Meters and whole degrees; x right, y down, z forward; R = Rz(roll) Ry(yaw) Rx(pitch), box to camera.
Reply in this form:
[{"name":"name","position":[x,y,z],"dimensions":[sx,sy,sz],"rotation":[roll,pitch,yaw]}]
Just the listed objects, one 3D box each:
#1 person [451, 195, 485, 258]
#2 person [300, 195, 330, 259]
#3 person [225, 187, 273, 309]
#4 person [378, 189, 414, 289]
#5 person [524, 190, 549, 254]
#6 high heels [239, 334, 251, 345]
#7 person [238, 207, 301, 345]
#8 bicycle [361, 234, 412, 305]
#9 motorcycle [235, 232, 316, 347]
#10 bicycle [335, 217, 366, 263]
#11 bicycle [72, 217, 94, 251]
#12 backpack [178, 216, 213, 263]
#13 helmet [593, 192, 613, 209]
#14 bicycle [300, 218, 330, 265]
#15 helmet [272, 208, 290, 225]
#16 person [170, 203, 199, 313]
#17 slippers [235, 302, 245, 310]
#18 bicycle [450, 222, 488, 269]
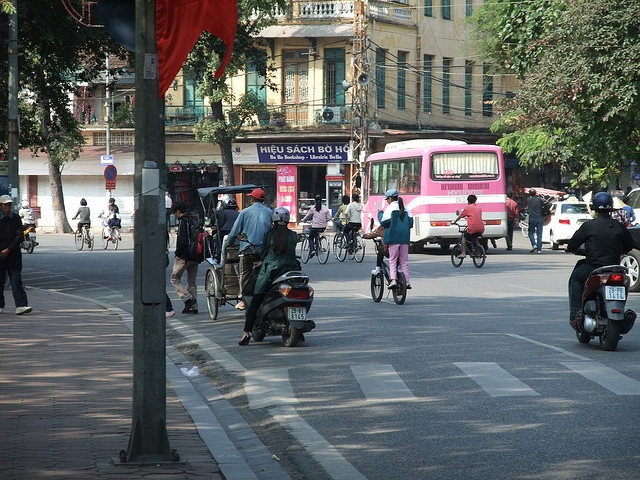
[{"name":"person","position":[3.957,-0.394,28.125],"dimensions":[0.491,1.318,1.557],"rotation":[-1,1,-18]},{"name":"person","position":[-0.086,-0.415,29.742],"dimensions":[0.721,1.586,0.658],"rotation":[0,6,-5]},{"name":"person","position":[-1.048,0.154,17.883],"dimensions":[0.979,1.968,0.717],"rotation":[0,8,-20]},{"name":"person","position":[1.425,-0.013,20.460],"dimensions":[0.409,1.852,0.636],"rotation":[2,3,39]},{"name":"person","position":[6.732,-0.567,33.570],"dimensions":[0.660,1.973,0.685],"rotation":[0,0,17]},{"name":"high heels","position":[-1.120,1.511,16.226],"dimensions":[0.108,0.091,0.267],"rotation":[3,-21,-10]},{"name":"person","position":[-0.692,0.514,16.465],"dimensions":[0.969,1.986,1.059],"rotation":[0,7,-18]},{"name":"bicycle","position":[1.296,0.583,20.455],"dimensions":[0.785,1.230,1.045],"rotation":[0,5,-5]},{"name":"motorcycle","position":[-0.594,0.639,16.071],"dimensions":[1.099,1.928,0.539],"rotation":[1,3,32]},{"name":"bicycle","position":[0.787,0.093,30.766],"dimensions":[0.701,0.820,1.396],"rotation":[-3,9,-30]},{"name":"bicycle","position":[-7.809,-0.131,35.998],"dimensions":[0.509,0.942,1.460],"rotation":[-1,2,-15]},{"name":"backpack","position":[-2.203,0.006,19.056],"dimensions":[0.456,0.911,0.464],"rotation":[-3,5,-24]},{"name":"helmet","position":[4.167,-0.594,16.055],"dimensions":[0.231,0.295,0.300],"rotation":[1,24,7]},{"name":"bicycle","position":[-0.172,0.187,30.452],"dimensions":[0.639,0.784,1.376],"rotation":[-4,9,-29]},{"name":"helmet","position":[-0.573,-0.352,16.192],"dimensions":[0.225,0.238,0.271],"rotation":[2,9,-10]},{"name":"person","position":[-2.374,0.355,19.252],"dimensions":[0.637,1.903,0.592],"rotation":[-1,6,-18]},{"name":"slippers","position":[-1.357,1.153,18.678],"dimensions":[0.099,0.098,0.238],"rotation":[2,3,-9]},{"name":"bicycle","position":[3.875,0.153,27.974],"dimensions":[0.895,1.135,0.885],"rotation":[0,5,1]}]
